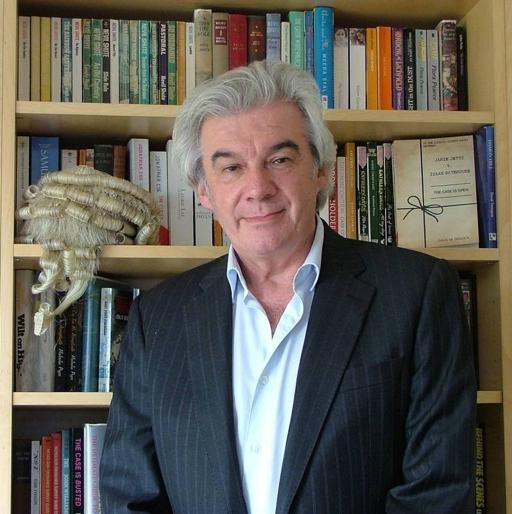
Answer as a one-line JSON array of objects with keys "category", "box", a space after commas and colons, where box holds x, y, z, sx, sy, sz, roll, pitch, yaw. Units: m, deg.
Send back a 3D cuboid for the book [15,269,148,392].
[{"category": "book", "box": [-0.484, 0.195, 1.822, 0.289, 0.335, 0.070, 4, -5, -29]}]
